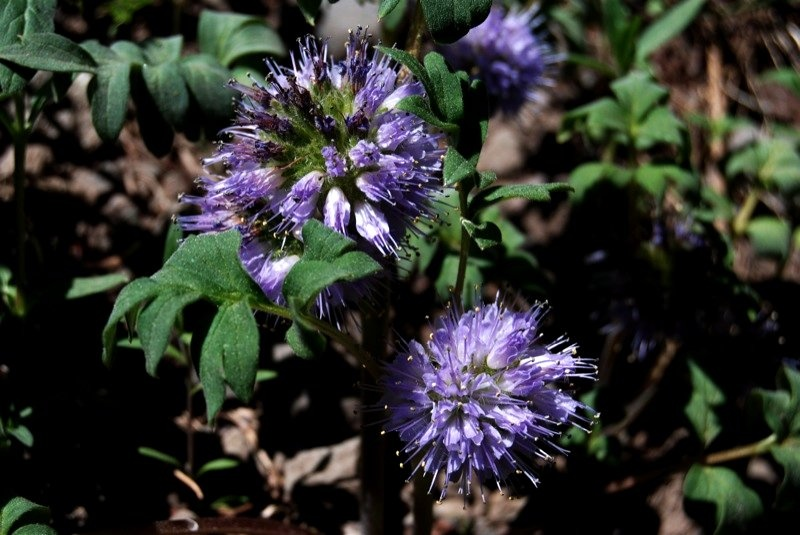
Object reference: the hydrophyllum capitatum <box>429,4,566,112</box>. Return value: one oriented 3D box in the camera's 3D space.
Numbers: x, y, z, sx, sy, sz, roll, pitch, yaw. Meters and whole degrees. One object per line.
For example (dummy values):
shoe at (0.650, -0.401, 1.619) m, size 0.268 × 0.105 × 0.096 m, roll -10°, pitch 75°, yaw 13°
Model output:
hydrophyllum capitatum at (0.358, -0.776, 3.191) m, size 0.439 × 0.462 × 0.341 m, roll -28°, pitch 12°, yaw 9°
